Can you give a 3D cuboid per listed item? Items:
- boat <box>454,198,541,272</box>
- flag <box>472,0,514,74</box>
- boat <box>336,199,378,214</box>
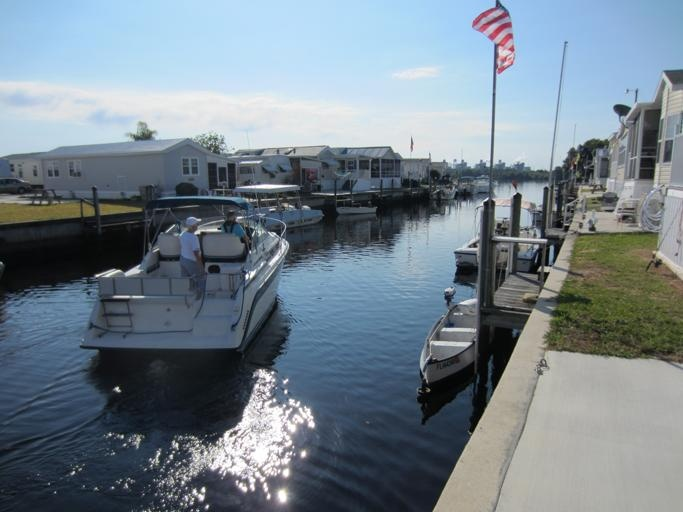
[{"bbox_3d":[6.393,-0.837,20.814,2.710,2.668,7.454,4,22,21],"label":"boat"},{"bbox_3d":[4.865,-6.816,15.982,0.925,1.967,1.693,7,15,35],"label":"flag"},{"bbox_3d":[1.307,-4.286,43.945,4.413,1.471,1.480,1,-1,-33],"label":"boat"}]
